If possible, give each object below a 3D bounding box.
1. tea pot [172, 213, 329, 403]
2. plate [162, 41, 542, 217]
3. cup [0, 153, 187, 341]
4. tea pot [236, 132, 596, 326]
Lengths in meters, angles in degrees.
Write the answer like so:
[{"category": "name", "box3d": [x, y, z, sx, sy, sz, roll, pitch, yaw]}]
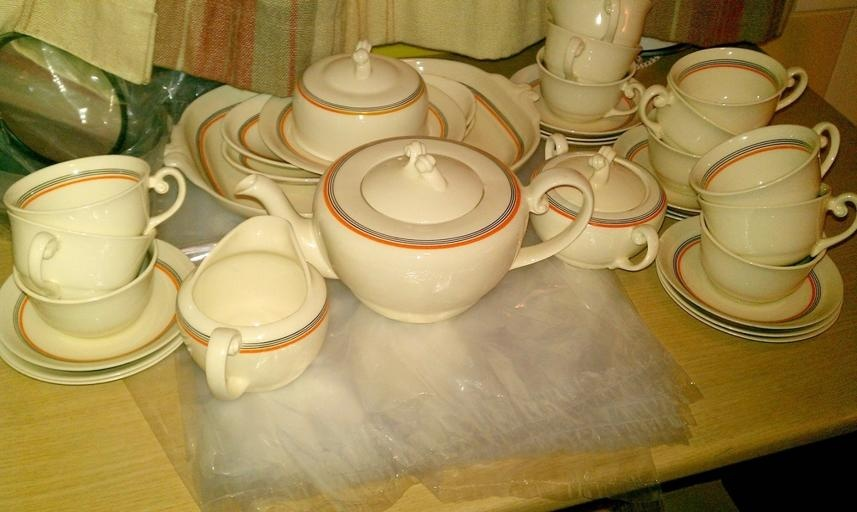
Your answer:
[{"category": "tea pot", "box3d": [-0.193, 0.077, 0.823, 0.190, 0.162, 0.234, 12, 56, 2]}, {"category": "plate", "box3d": [-0.124, -0.218, 0.967, 0.438, 0.175, 0.355, 2, 43, -8]}, {"category": "cup", "box3d": [-0.417, -0.025, 0.852, 0.251, 0.194, 0.198, -17, 44, -33]}, {"category": "tea pot", "box3d": [-0.024, -0.041, 0.822, 0.409, 0.187, 0.230, 2, 39, -7]}]
